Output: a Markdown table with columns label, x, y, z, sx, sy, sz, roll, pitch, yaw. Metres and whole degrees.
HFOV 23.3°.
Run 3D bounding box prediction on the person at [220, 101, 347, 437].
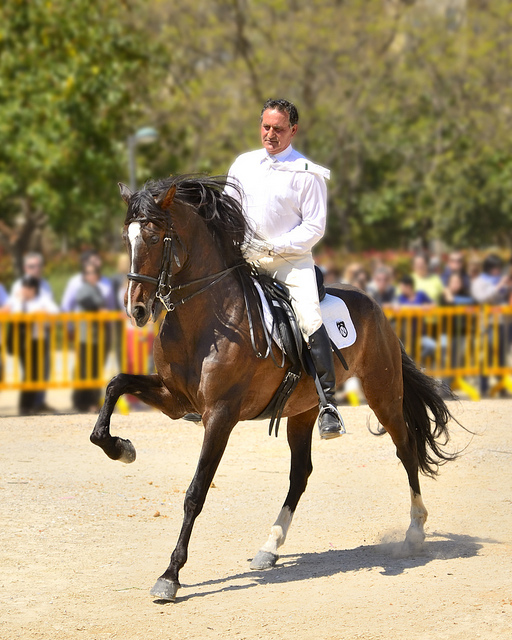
| label | x | y | z | sx | sy | sz | roll | pitch | yaw |
| --- | --- | --- | --- | --- | --- | --- | --- | --- | --- |
| person | 0.142 | -0.384 | 8.284 | 0.951 | 2.191 | 0.862 | -1 | 3 | 36 |

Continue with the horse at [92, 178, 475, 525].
| label | x | y | z | sx | sy | sz | roll | pitch | yaw |
| --- | --- | --- | --- | --- | --- | --- | --- | --- | --- |
| horse | 0.101 | 0.319 | 8.320 | 0.875 | 2.505 | 2.475 | 13 | 15 | 42 |

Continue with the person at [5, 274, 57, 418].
| label | x | y | z | sx | sy | sz | roll | pitch | yaw |
| --- | --- | --- | --- | --- | --- | --- | --- | --- | --- |
| person | -2.391 | 0.308 | 13.325 | 0.534 | 1.550 | 0.819 | 0 | 11 | -9 |

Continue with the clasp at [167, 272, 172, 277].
| label | x | y | z | sx | sy | sz | roll | pitch | yaw |
| --- | --- | --- | --- | --- | --- | --- | --- | --- | --- |
| clasp | -0.528 | -0.288 | 7.629 | 0.038 | 0.033 | 0.008 | 6 | -2 | -13 |

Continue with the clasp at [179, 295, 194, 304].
| label | x | y | z | sx | sy | sz | roll | pitch | yaw |
| --- | --- | --- | --- | --- | --- | --- | --- | --- | --- |
| clasp | -0.434 | -0.134 | 7.810 | 0.088 | 0.053 | 0.016 | -4 | 13 | -29 |

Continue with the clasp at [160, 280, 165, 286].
| label | x | y | z | sx | sy | sz | roll | pitch | yaw |
| --- | --- | --- | --- | --- | --- | --- | --- | --- | --- |
| clasp | -0.569 | -0.231 | 7.562 | 0.004 | 0.041 | 0.056 | 6 | 12 | 20 |

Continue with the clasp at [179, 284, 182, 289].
| label | x | y | z | sx | sy | sz | roll | pitch | yaw |
| --- | --- | --- | --- | --- | --- | --- | --- | --- | --- |
| clasp | -0.475 | -0.214 | 7.801 | 0.006 | 0.028 | 0.012 | 7 | 12 | 23 |

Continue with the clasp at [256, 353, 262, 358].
| label | x | y | z | sx | sy | sz | roll | pitch | yaw |
| --- | --- | --- | --- | --- | --- | --- | --- | --- | --- |
| clasp | 0.017 | 0.219 | 7.935 | 0.035 | 0.030 | 0.009 | -9 | 6 | -13 |
